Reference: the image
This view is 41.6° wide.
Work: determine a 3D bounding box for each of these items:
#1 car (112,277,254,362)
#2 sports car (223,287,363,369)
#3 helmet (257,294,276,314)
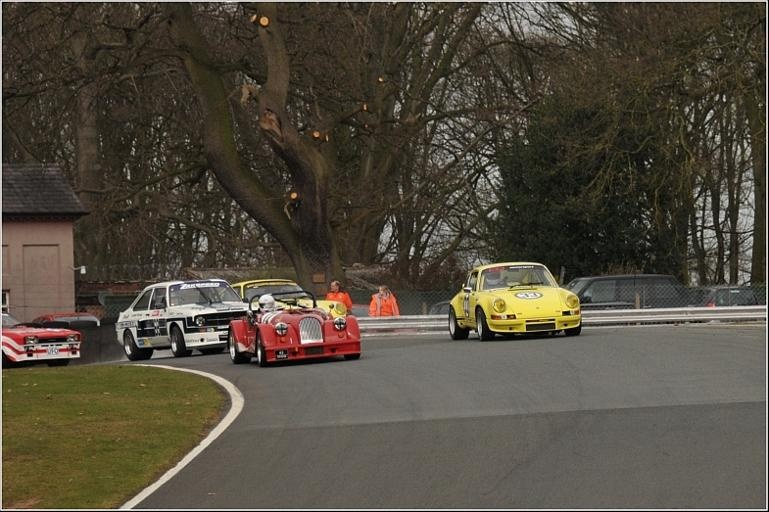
[{"bbox_3d":[-5.583,1.830,29.693,3.136,2.189,4.986,-3,-3,-45],"label":"car"},{"bbox_3d":[-2.481,1.850,26.293,2.443,1.729,4.160,-4,1,-24],"label":"sports car"},{"bbox_3d":[-2.847,1.235,25.221,0.361,0.492,0.473,-6,-17,-8],"label":"helmet"}]
